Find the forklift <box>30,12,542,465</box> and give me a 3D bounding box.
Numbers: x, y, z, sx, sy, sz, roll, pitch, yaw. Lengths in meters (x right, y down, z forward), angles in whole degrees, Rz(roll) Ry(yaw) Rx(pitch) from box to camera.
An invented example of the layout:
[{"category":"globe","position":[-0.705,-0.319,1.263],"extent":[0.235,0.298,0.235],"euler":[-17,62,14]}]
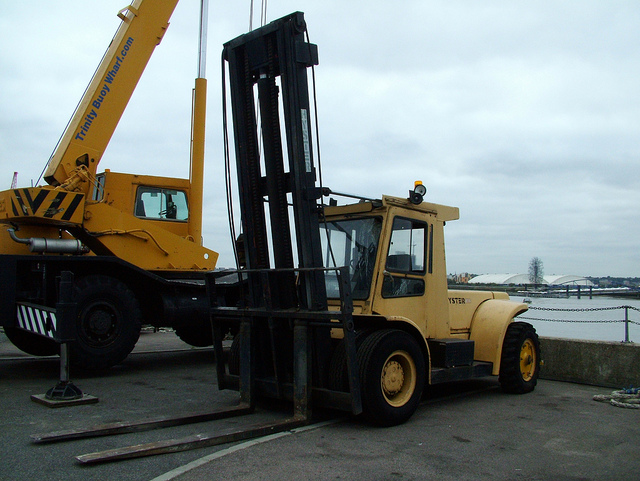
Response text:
[{"category":"forklift","position":[0.111,0.043,8.078],"extent":[7.895,5.499,2.777],"euler":[3,-8,-39]}]
